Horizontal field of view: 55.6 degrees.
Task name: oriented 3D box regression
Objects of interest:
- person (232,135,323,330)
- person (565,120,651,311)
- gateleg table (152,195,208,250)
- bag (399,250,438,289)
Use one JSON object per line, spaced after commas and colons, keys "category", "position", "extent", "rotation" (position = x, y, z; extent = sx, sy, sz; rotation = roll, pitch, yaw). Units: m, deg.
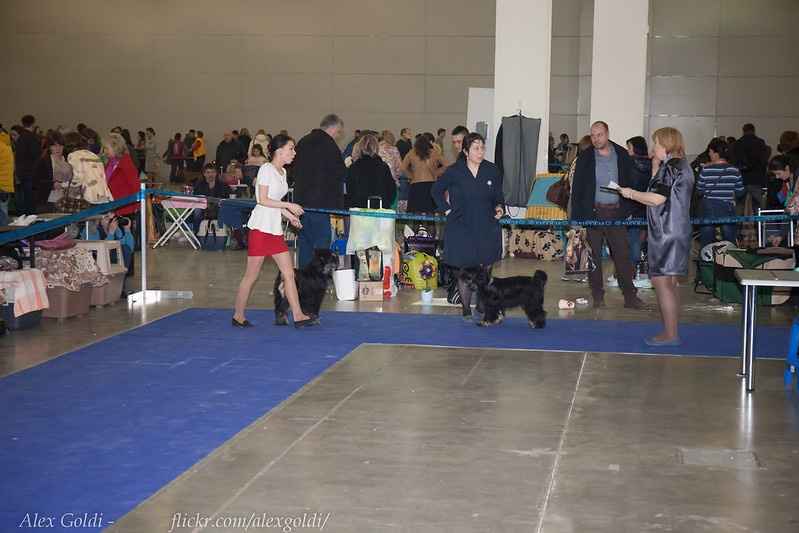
{"category": "person", "position": [-1.413, -0.384, 8.419], "extent": [0.929, 2.142, 0.672], "rotation": [-3, 12, -14]}
{"category": "person", "position": [2.622, -0.589, 9.449], "extent": [0.924, 2.367, 0.678], "rotation": [0, 14, 20]}
{"category": "gateleg table", "position": [-4.228, -0.901, 14.897], "extent": [0.875, 0.913, 0.967], "rotation": [6, -1, -21]}
{"category": "bag", "position": [0.285, 0.048, 10.818], "extent": [0.611, 0.551, 0.617], "rotation": [-1, -1, 45]}
